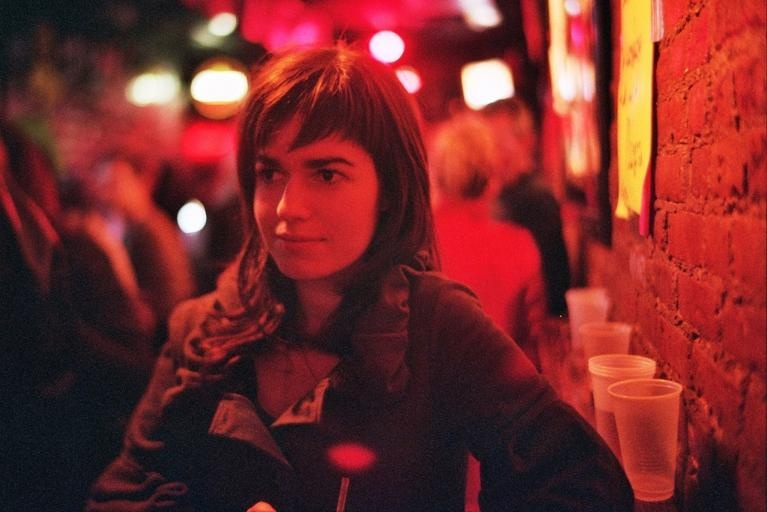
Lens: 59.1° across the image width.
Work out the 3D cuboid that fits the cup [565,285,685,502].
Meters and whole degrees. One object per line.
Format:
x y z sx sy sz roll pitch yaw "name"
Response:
0.564 0.338 1.583 0.134 0.173 0.465 -2 11 -1 "cup"
